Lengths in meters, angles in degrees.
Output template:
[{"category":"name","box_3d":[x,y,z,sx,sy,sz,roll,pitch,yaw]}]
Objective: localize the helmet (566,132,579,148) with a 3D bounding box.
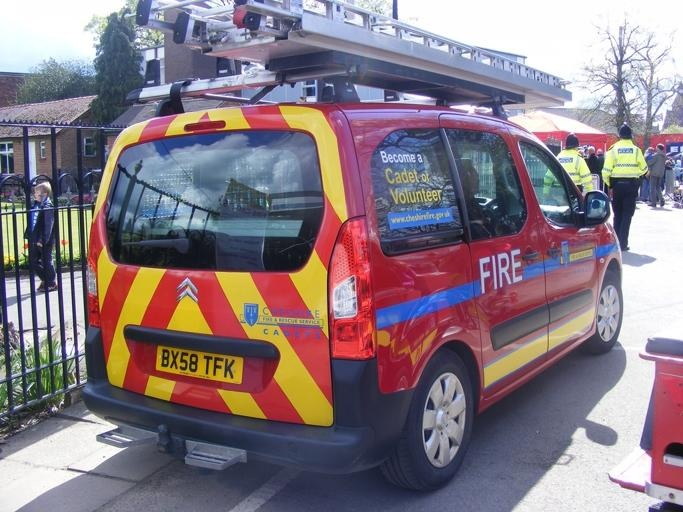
[{"category":"helmet","box_3d":[4.394,-2.255,10.441,0.218,0.248,0.360,3,41,33]}]

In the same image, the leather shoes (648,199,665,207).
[{"category":"leather shoes","box_3d":[11.775,-2.046,20.461,0.505,0.234,0.163,-20,10,6]}]
